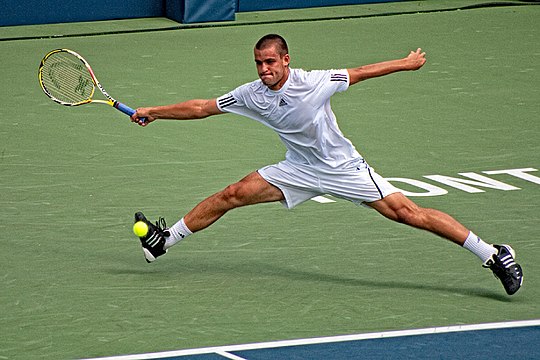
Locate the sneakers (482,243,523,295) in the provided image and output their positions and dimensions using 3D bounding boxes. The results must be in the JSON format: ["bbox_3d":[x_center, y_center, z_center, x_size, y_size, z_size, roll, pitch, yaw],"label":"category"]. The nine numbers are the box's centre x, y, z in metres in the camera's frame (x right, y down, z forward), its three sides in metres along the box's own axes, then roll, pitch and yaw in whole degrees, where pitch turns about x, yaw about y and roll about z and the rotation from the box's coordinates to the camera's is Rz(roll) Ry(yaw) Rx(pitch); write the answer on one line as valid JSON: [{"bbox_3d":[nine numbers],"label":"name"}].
[{"bbox_3d":[2.186,0.863,5.247,0.268,0.188,0.503,-11,57,-36],"label":"sneakers"}]
